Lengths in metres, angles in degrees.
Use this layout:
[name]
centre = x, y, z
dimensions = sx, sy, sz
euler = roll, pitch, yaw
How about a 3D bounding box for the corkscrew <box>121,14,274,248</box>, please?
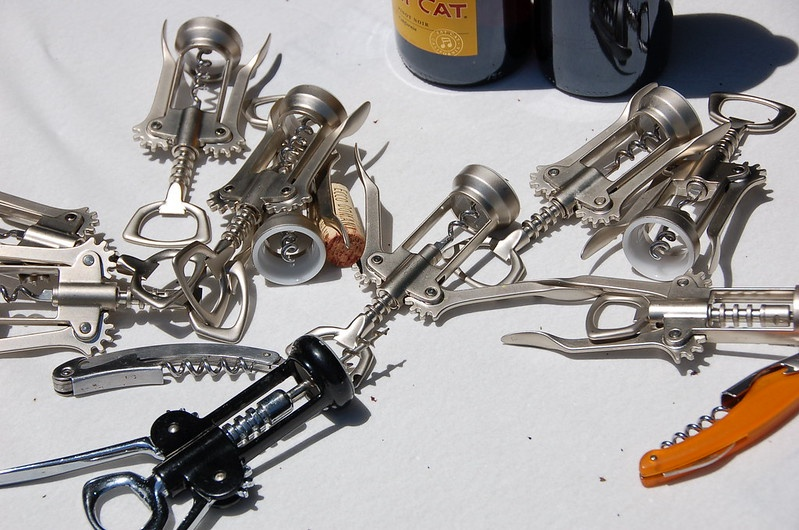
[corkscrew]
centre = -0.502, -0.348, 2.041
dimensions = 0.251, 0.169, 0.709
euler = 3, 53, -8
